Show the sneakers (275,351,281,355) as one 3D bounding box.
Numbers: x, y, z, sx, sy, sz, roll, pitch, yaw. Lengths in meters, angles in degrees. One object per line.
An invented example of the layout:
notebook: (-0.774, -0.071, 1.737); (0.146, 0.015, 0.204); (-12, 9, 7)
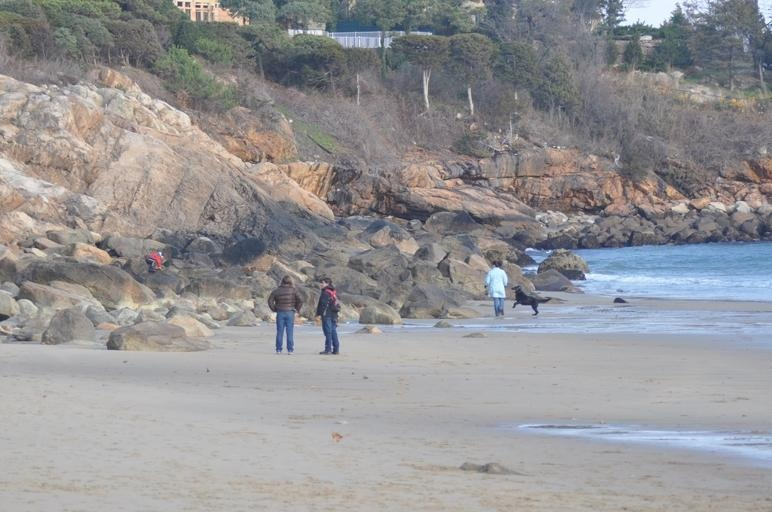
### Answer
sneakers: (-5.847, 5.413, 99.063); (0.380, 0.152, 0.252); (1, 3, -10)

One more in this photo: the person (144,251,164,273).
person: (-13.941, 0.546, 109.453); (1.127, 1.287, 2.659); (1, 3, -7)

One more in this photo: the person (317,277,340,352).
person: (-3.138, 3.472, 99.569); (1.312, 4.004, 1.477); (2, 4, -3)
